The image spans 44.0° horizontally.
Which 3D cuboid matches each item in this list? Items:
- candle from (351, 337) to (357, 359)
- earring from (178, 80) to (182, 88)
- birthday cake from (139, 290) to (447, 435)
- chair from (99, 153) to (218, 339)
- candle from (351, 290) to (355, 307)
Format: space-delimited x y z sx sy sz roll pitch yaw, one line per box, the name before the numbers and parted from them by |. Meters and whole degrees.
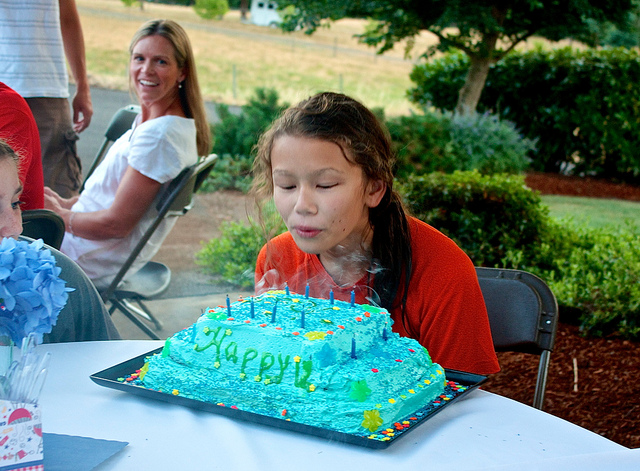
candle | 0.128 0.409 2.850 0.027 0.064 0.034 10 16 -4
earring | -0.831 -0.893 4.682 0.011 0.046 0.035 16 16 16
birthday cake | -0.095 0.415 3.058 1.095 0.333 0.713 7 14 31
chair | -1.117 0.151 4.569 0.828 0.978 0.563 -1 -4 -6
candle | 0.133 0.254 3.127 0.021 0.082 0.020 3 25 5
